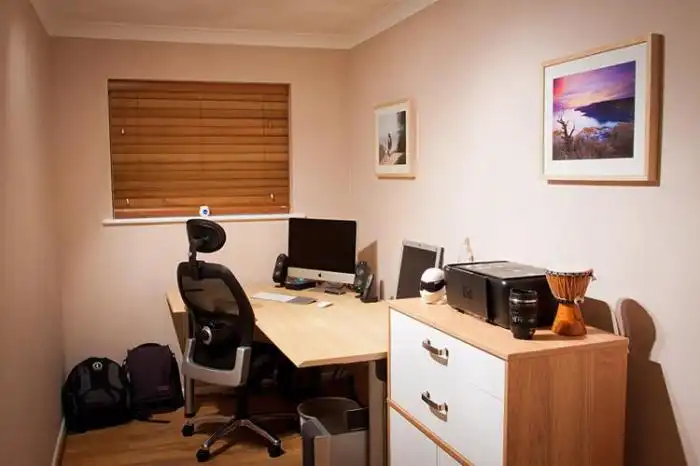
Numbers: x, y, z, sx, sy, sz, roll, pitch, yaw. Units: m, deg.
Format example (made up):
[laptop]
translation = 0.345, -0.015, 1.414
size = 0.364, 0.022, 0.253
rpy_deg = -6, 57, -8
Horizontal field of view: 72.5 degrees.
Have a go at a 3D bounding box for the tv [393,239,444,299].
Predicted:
[tv]
translation = 0.471, 0.277, 3.313
size = 0.398, 0.424, 0.192
rpy_deg = 9, 15, 43

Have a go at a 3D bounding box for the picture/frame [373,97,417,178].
[picture/frame]
translation = 0.357, -0.746, 3.721
size = 0.073, 0.663, 0.701
rpy_deg = -1, 0, -18

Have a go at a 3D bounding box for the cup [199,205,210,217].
[cup]
translation = -1.312, -0.192, 4.285
size = 0.096, 0.092, 0.108
rpy_deg = -4, 11, -16
